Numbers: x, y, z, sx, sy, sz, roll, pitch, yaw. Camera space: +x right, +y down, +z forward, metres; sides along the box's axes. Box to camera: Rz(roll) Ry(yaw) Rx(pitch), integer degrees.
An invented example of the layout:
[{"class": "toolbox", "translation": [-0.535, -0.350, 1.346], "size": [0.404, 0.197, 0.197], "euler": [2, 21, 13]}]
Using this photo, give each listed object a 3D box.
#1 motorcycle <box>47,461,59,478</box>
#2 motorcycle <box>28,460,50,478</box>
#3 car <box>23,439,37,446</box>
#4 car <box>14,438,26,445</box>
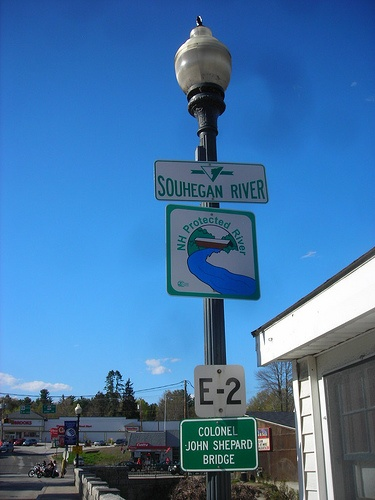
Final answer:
[{"class": "motorcycle", "translation": [-7.423, 12.187, 30.620], "size": [0.597, 0.821, 1.555], "euler": [2, -20, -10]}, {"class": "motorcycle", "translation": [-8.262, 12.303, 30.757], "size": [0.986, 0.938, 1.675], "euler": [1, -24, -23]}, {"class": "car", "translation": [-20.875, 25.759, 73.784], "size": [1.258, 0.832, 2.670], "euler": [-3, -20, 6]}, {"class": "car", "translation": [-22.650, 26.174, 74.977], "size": [0.927, 0.768, 1.565], "euler": [1, -21, -2]}]
